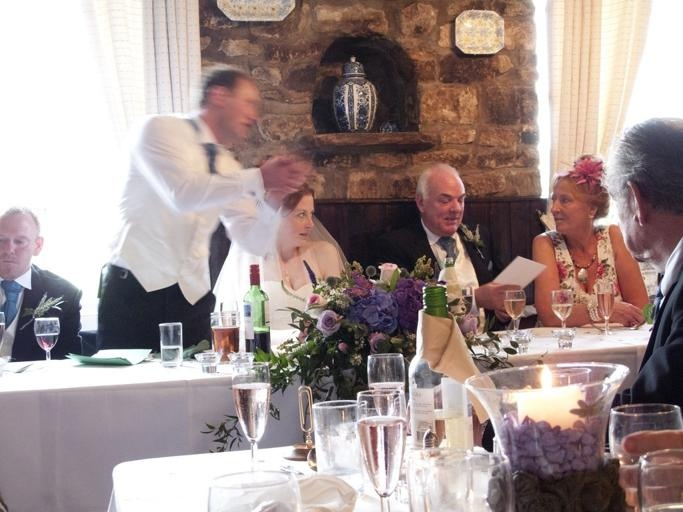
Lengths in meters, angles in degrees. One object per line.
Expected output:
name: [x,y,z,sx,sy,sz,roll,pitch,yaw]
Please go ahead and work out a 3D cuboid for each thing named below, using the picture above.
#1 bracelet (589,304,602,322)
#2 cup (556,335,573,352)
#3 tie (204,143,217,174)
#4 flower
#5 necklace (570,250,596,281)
bracelet: [1.234,0.276,3.416,0.070,0.082,0.042,3,-25,-46]
cup: [0.873,0.344,2.747,0.052,0.052,0.053,2,-12,0]
tie: [-0.616,-0.465,3.290,0.026,0.113,0.082,5,16,25]
flower: [-0.017,0.171,2.217,0.694,0.370,0.703,-10,-2,-4]
necklace: [1.281,0.058,3.699,0.196,0.225,0.030,-1,-47,16]
